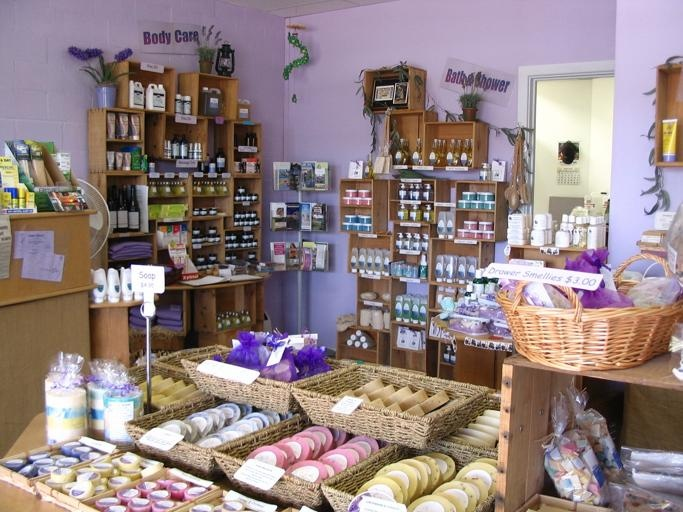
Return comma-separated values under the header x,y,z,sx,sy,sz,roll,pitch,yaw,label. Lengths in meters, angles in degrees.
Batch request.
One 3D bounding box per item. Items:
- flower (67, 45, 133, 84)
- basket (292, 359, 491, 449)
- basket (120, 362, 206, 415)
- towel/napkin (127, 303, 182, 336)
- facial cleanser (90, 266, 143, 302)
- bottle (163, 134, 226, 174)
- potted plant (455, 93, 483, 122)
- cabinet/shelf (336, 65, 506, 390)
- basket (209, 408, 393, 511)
x,y,z,sx,sy,sz,roll,pitch,yaw,label
-2.305,-1.832,4.957,0.583,0.385,0.333,-6,8,-31,flower
0.250,0.492,2.208,0.732,0.275,0.621,13,16,42,basket
-0.884,0.635,2.681,0.343,0.165,0.393,10,14,34,basket
-1.800,0.635,5.072,0.551,0.196,0.574,-1,3,8,towel/napkin
-1.642,0.210,3.696,0.289,0.239,0.239,-5,8,-26,facial cleanser
-1.631,-1.123,5.656,0.192,0.397,0.523,9,14,36,bottle
1.371,-1.596,5.461,0.233,0.335,0.239,1,7,17,potted plant
0.799,-0.384,5.774,1.613,3.720,0.522,9,12,36,cabinet/shelf
-0.156,0.786,1.980,0.624,0.222,0.499,-2,10,-44,basket
